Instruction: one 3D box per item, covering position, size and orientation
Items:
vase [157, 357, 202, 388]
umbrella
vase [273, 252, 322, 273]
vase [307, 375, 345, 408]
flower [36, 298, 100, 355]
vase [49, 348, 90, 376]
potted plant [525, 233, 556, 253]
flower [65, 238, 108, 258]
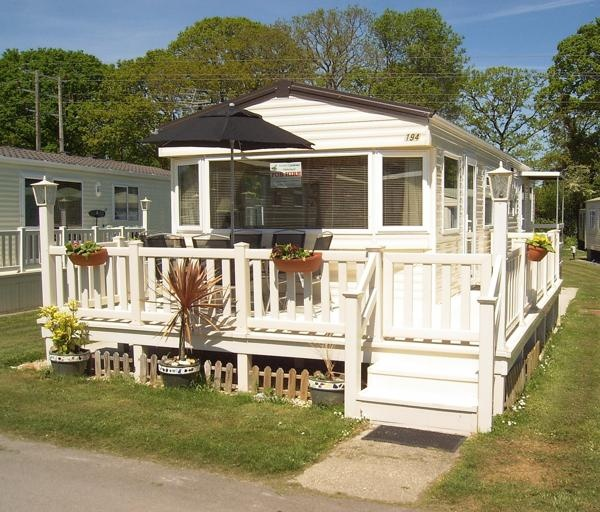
[{"bbox_3d":[-1.414,1.351,7.996,0.331,0.225,0.352,-1,-3,23],"label":"vase"},{"bbox_3d":[-0.996,-1.091,9.208,1.918,1.884,1.743,11,17,43],"label":"umbrella"},{"bbox_3d":[-0.016,0.093,7.659,0.336,0.150,0.287,-3,-4,16],"label":"vase"},{"bbox_3d":[0.286,1.462,7.425,0.283,0.191,0.300,2,-2,-12],"label":"vase"},{"bbox_3d":[-2.956,0.871,8.680,0.654,0.818,0.610,1,-3,-30],"label":"flower"},{"bbox_3d":[-2.910,1.341,8.552,0.341,0.229,0.332,1,0,-13],"label":"vase"},{"bbox_3d":[3.252,-0.188,9.107,0.399,0.192,0.412,8,3,41],"label":"potted plant"},{"bbox_3d":[-2.727,-0.106,8.576,0.551,0.171,0.311,4,14,19],"label":"flower"}]
